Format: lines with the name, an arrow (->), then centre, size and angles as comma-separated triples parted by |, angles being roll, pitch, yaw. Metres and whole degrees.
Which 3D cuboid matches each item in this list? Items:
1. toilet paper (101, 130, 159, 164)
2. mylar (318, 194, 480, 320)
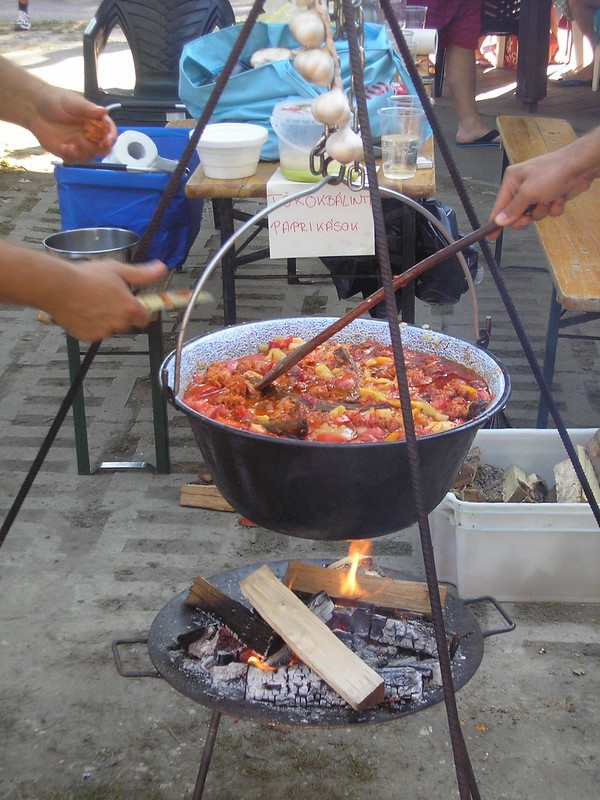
toilet paper -> -0.869, -1.226, 3.540 | 0.306, 0.170, 0.143 | 7, 25, 27
mylar -> 0.484, -0.674, 3.468 | 0.764, 0.631, 0.597 | 1, 22, -3
